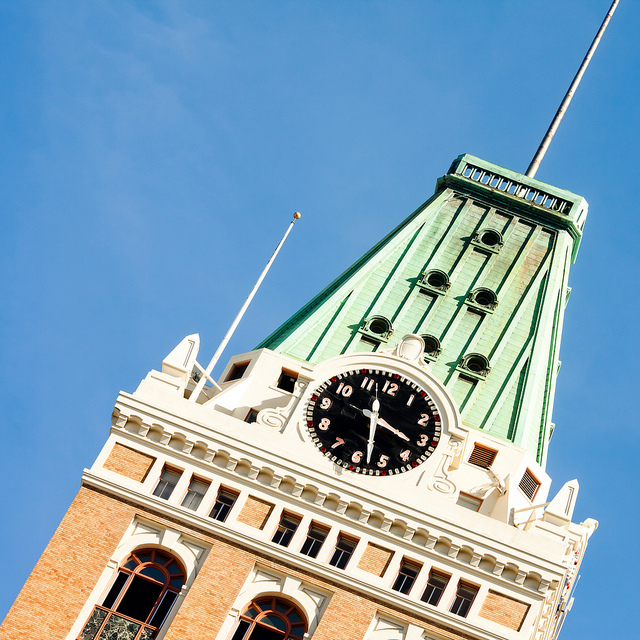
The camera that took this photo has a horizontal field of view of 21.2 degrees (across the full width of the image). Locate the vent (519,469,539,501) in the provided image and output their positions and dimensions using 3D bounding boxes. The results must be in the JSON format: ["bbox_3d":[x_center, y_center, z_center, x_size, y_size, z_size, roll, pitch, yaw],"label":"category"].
[{"bbox_3d":[13.268,10.481,108.323,0.485,1.625,1.792,-4,-29,27],"label":"vent"}]
